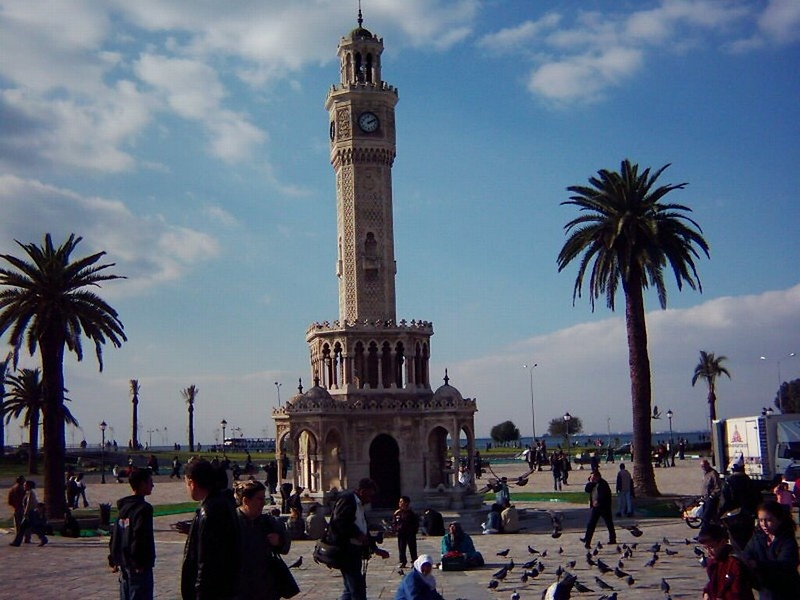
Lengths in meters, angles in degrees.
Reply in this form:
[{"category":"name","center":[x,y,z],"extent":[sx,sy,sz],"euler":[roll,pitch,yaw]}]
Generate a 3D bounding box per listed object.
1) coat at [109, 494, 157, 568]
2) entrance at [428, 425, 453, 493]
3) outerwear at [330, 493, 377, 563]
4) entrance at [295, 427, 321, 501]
[{"category":"coat","center":[-4.939,4.299,17.596],"extent":[0.810,1.343,0.351],"euler":[-7,-9,24]},{"category":"entrance","center":[1.746,7.397,45.762],"extent":[0.965,0.650,4.708],"euler":[2,-48,6]},{"category":"outerwear","center":[-1.002,4.434,18.780],"extent":[0.750,1.352,1.065],"euler":[9,-5,7]},{"category":"entrance","center":[-4.135,7.639,45.596],"extent":[1.229,2.806,0.405],"euler":[3,11,26]}]
